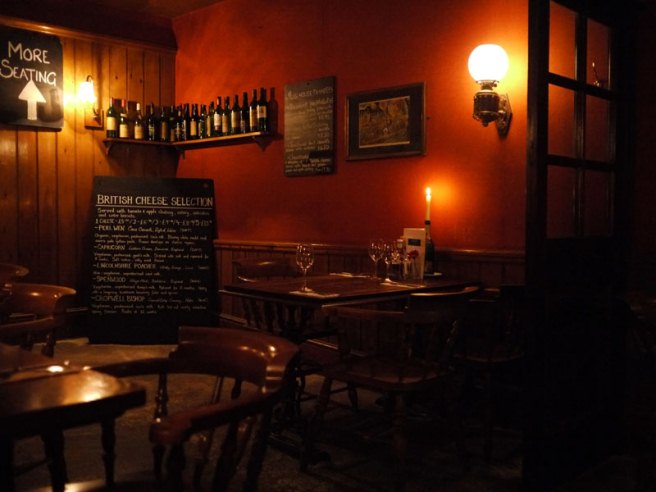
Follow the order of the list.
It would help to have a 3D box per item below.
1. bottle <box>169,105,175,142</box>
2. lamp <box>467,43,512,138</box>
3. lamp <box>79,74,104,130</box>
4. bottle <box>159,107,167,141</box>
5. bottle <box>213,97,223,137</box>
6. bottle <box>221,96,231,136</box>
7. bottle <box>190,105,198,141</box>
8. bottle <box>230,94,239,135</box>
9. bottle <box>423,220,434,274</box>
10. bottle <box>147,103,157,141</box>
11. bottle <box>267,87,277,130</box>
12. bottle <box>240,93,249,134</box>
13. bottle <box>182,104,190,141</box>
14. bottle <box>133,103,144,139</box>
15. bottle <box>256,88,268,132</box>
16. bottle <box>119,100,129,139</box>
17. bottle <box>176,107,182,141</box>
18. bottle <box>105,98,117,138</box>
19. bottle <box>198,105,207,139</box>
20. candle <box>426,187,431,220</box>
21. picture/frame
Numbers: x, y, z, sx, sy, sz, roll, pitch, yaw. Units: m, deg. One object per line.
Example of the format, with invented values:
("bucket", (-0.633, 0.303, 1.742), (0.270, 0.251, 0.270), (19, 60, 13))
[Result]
("bottle", (-1.677, -1.343, 6.011), (0.067, 0.407, 0.190), (-1, 3, -24))
("lamp", (1.077, -1.037, 3.682), (0.231, 0.604, 0.223), (-2, 4, -45))
("lamp", (-2.388, -1.463, 5.600), (0.229, 0.546, 0.102), (-1, 3, -28))
("bottle", (-1.768, -1.327, 5.998), (0.087, 0.392, 0.140), (-1, 3, -18))
("bottle", (-1.101, -1.312, 5.583), (0.088, 0.405, 0.211), (0, 3, -12))
("bottle", (-1.002, -1.301, 5.502), (0.076, 0.408, 0.207), (0, 3, -10))
("bottle", (-1.388, -1.309, 5.797), (0.086, 0.391, 0.251), (0, 3, -13))
("bottle", (-0.894, -1.285, 5.390), (0.082, 0.389, 0.190), (0, 3, -14))
("bottle", (0.726, -0.003, 3.935), (0.061, 0.379, 0.310), (1, 3, 11))
("bottle", (-1.881, -1.332, 5.946), (0.103, 0.398, 0.165), (1, 3, 5))
("bottle", (-0.508, -1.285, 5.165), (0.136, 0.395, 0.029), (3, 4, 43))
("bottle", (-0.791, -1.288, 5.316), (0.085, 0.411, 0.114), (0, 3, -10))
("bottle", (-1.498, -1.338, 5.893), (0.074, 0.399, 0.175), (0, 3, -14))
("bottle", (-1.983, -1.322, 5.835), (0.097, 0.411, 0.191), (-1, 3, -19))
("bottle", (-0.599, -1.277, 5.155), (0.096, 0.441, 0.204), (0, 3, -8))
("bottle", (-2.100, -1.305, 5.738), (0.101, 0.372, 0.152), (-1, 3, -20))
("bottle", (-1.586, -1.311, 5.931), (0.045, 0.339, 0.120), (-1, 3, -29))
("bottle", (-2.204, -1.310, 5.676), (0.119, 0.403, 0.158), (-1, 3, -22))
("bottle", (-1.291, -1.308, 5.765), (0.077, 0.356, 0.244), (0, 3, -13))
("candle", (0.733, -0.314, 3.999), (0.042, 0.243, 0.225), (1, 3, 10))
("picture/frame", (0.472, -0.968, 4.276), (0.657, 0.525, 0.033), (2, 2, 40))
